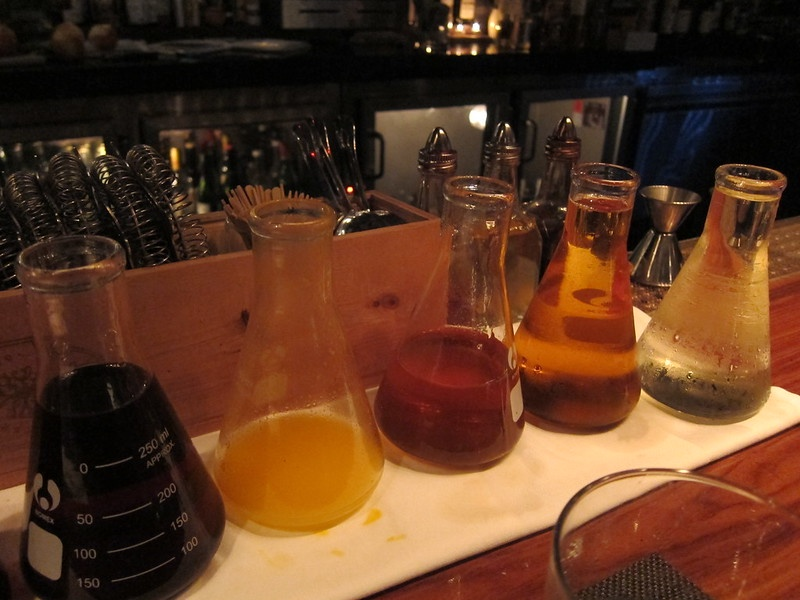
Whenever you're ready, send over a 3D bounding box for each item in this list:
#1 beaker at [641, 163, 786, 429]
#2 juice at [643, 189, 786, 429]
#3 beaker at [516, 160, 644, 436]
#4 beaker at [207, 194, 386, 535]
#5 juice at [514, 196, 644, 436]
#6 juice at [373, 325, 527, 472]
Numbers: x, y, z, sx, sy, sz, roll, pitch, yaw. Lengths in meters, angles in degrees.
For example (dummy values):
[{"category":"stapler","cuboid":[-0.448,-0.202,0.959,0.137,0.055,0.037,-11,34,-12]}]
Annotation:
[{"category":"beaker","cuboid":[0.346,0.004,0.703,0.111,0.266,0.112,-10,29,-15]},{"category":"juice","cuboid":[0.361,-0.010,0.727,0.145,0.268,0.142,9,31,22]},{"category":"beaker","cuboid":[0.191,0.006,0.687,0.126,0.256,0.107,-1,28,0]},{"category":"beaker","cuboid":[-0.093,0.069,0.578,0.129,0.289,0.144,15,32,27]},{"category":"juice","cuboid":[0.205,0.010,0.724,0.170,0.255,0.165,11,23,25]},{"category":"juice","cuboid":[0.060,0.118,0.700,0.144,0.099,0.139,-11,40,-23]}]
